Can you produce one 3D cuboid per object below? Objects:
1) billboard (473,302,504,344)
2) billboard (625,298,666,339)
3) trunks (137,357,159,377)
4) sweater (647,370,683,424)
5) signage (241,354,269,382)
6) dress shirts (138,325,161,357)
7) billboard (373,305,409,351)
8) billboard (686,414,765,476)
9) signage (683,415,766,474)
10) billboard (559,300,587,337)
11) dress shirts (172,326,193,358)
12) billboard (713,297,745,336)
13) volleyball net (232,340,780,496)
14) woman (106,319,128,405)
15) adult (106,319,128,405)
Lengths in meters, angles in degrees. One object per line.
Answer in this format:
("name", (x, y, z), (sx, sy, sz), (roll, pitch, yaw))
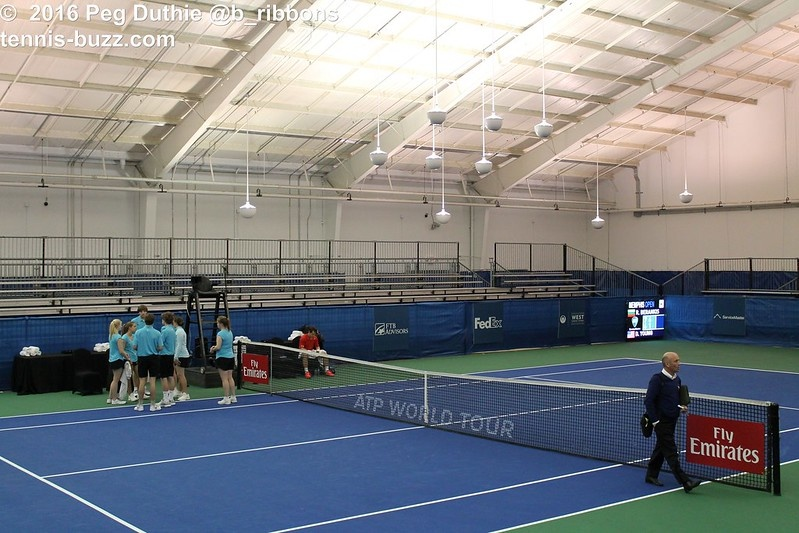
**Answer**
("billboard", (3.694, 2.369, 25.855), (1.852, 2.021, 0.233), (0, -1, -34))
("billboard", (12.230, 2.581, 30.067), (0.110, 2.173, 2.661), (6, -9, -19))
("trunks", (-6.224, 2.453, 15.020), (0.488, 0.466, 0.282), (1, 8, -6))
("sweater", (4.466, 2.178, 10.300), (0.604, 0.866, 0.265), (-4, -5, 13))
("signage", (-4.196, 2.919, 17.604), (0.819, 0.576, 0.117), (0, 3, 39))
("dress shirts", (-6.227, 1.823, 15.017), (0.571, 0.757, 0.291), (0, -5, -26))
("billboard", (-0.427, 2.377, 23.785), (1.803, 1.998, 0.216), (1, -1, -34))
("billboard", (5.476, 2.948, 10.310), (1.783, 1.185, 0.078), (8, -8, -15))
("signage", (5.540, 2.973, 10.397), (0.079, 1.194, 1.780), (13, -14, -16))
("billboard", (7.922, 2.358, 28.012), (1.762, 1.740, 0.125), (1, -1, -33))
("dress shirts", (-5.689, 1.946, 15.775), (0.270, 0.811, 0.444), (-2, -5, -6))
("billboard", (15.641, 2.325, 28.676), (0.177, 2.364, 1.830), (5, -4, -36))
("volleyball net", (2.195, 3.331, 13.849), (11.144, 1.556, 0.307), (4, -10, 17))
("woman", (-7.430, 2.493, 15.905), (0.438, 2.188, 1.506), (0, -6, -26))
("adult", (-7.430, 2.493, 15.905), (0.438, 2.188, 1.506), (0, -6, -26))
